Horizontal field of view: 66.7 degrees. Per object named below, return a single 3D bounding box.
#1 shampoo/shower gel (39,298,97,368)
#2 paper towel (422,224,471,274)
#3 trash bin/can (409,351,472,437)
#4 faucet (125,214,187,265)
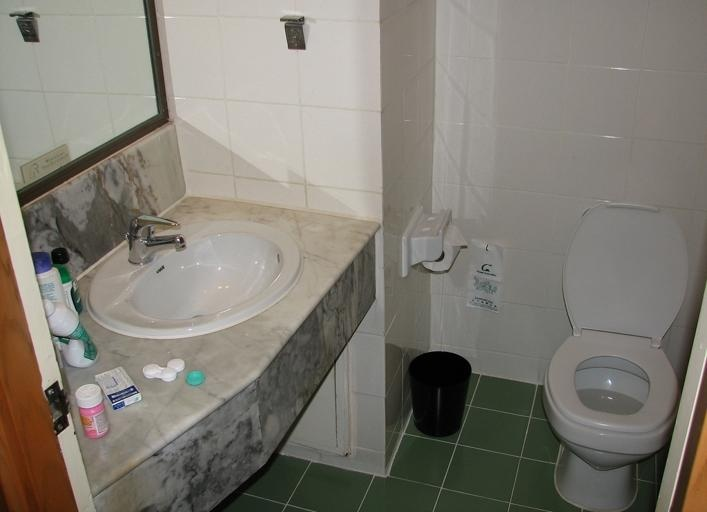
[{"bbox_3d":[-0.679,0.185,1.280,0.077,0.205,0.079,-10,30,-14],"label":"shampoo/shower gel"},{"bbox_3d":[0.394,-0.024,2.220,0.199,0.193,0.178,7,46,15],"label":"paper towel"},{"bbox_3d":[0.356,0.590,2.499,0.320,0.375,0.344,-1,29,5],"label":"trash bin/can"},{"bbox_3d":[-0.612,-0.050,1.652,0.176,0.142,0.094,9,24,-1],"label":"faucet"}]
